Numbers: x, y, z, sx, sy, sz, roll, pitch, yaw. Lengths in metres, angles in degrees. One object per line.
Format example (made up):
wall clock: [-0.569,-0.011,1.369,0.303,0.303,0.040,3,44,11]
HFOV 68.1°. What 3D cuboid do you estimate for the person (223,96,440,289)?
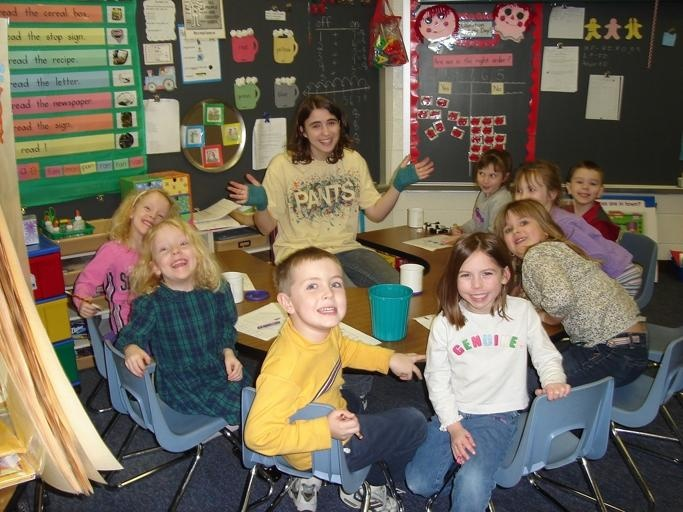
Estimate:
person: [-0.059,-0.227,2.878,1.259,1.245,0.780,-8,22,-20]

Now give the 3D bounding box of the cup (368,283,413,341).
cup: [0.178,0.197,1.884,0.170,0.193,0.174,-1,19,0]

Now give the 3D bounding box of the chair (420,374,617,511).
chair: [0.583,0.621,1.701,0.371,0.530,0.380,-11,37,-15]

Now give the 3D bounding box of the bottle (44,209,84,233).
bottle: [-1.675,-0.182,3.029,0.195,0.135,0.199,3,19,-1]

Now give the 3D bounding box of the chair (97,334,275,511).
chair: [-0.581,0.632,1.900,0.436,0.623,0.359,-26,45,-36]

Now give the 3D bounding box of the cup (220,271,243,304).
cup: [-0.448,0.132,2.200,0.079,0.118,0.128,4,11,21]

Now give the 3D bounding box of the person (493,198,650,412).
person: [0.935,0.121,2.138,0.455,0.750,0.478,-11,-7,-38]

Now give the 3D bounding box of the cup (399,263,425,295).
cup: [0.305,0.101,2.245,0.115,0.130,0.118,0,6,0]

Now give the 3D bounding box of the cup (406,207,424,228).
cup: [0.495,-0.256,3.355,0.098,0.106,0.134,1,15,8]
